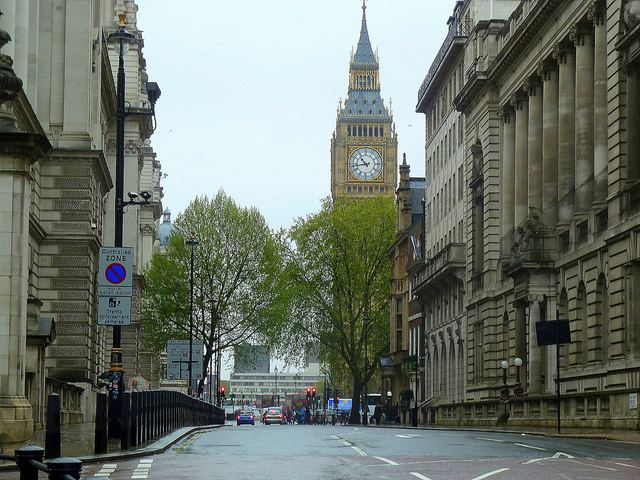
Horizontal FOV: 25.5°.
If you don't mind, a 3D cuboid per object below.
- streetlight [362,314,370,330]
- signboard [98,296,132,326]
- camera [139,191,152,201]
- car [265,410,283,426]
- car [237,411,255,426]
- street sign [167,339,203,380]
[{"bbox_3d":[3.521,5.837,100.684,0.648,0.970,0.760,-1,-4,-12],"label":"streetlight"},{"bbox_3d":[-7.392,2.591,50.812,1.165,1.077,0.805,7,-18,-17],"label":"signboard"},{"bbox_3d":[-6.982,-1.732,56.552,0.249,0.156,0.360,-2,-13,-2],"label":"camera"},{"bbox_3d":[-4.092,15.864,125.969,1.182,1.334,3.118,1,1,-1],"label":"car"},{"bbox_3d":[-6.417,15.459,122.665,1.322,1.487,2.481,2,-20,-3],"label":"car"},{"bbox_3d":[-7.964,7.055,83.158,1.714,2.449,0.210,3,-7,-23],"label":"street sign"}]
